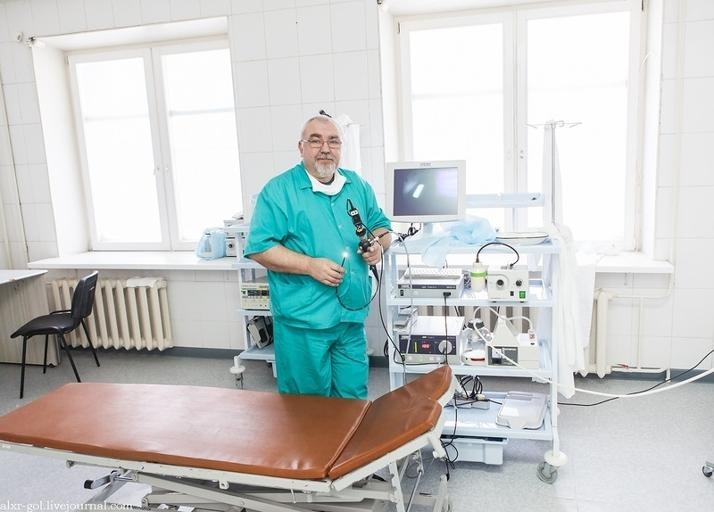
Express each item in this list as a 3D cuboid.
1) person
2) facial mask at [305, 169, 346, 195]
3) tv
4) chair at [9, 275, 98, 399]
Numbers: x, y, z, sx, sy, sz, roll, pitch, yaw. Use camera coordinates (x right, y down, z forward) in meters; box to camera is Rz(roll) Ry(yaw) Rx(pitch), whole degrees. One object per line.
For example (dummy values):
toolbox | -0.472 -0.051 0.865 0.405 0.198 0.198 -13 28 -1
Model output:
person | -0.200 0.030 3.091 0.794 1.545 0.402 -5 10 -12
facial mask | -0.155 -0.380 3.069 0.155 0.146 0.068 -12 4 -19
tv | 0.405 -0.349 3.346 0.492 0.380 0.044 -1 0 8
chair | -2.383 0.590 4.543 0.681 0.858 0.631 3 9 11
